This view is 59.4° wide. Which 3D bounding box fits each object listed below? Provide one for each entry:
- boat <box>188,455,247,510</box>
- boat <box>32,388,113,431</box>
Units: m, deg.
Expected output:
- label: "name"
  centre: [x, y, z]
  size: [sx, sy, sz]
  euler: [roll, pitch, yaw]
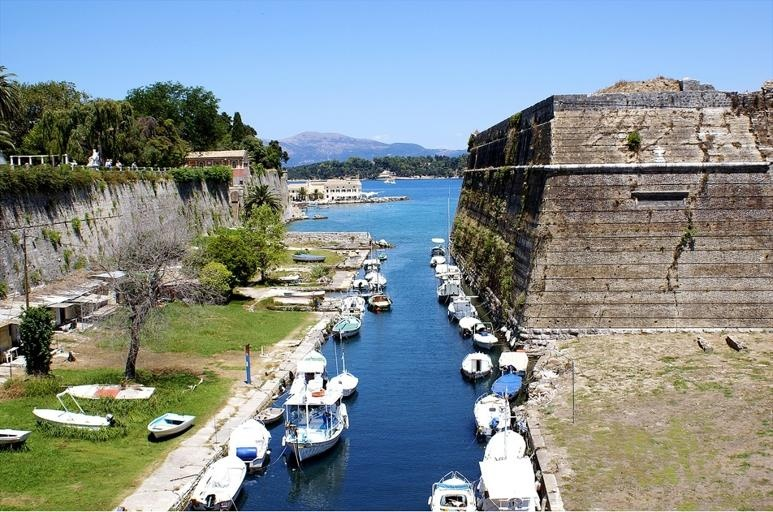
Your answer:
- label: "boat"
  centre: [-8.145, 10.223, 30.229]
  size: [1.937, 1.538, 2.354]
  euler: [7, 12, 1]
- label: "boat"
  centre: [-16.302, 7.875, 33.202]
  size: [3.683, 1.270, 1.655]
  euler: [7, 3, 3]
